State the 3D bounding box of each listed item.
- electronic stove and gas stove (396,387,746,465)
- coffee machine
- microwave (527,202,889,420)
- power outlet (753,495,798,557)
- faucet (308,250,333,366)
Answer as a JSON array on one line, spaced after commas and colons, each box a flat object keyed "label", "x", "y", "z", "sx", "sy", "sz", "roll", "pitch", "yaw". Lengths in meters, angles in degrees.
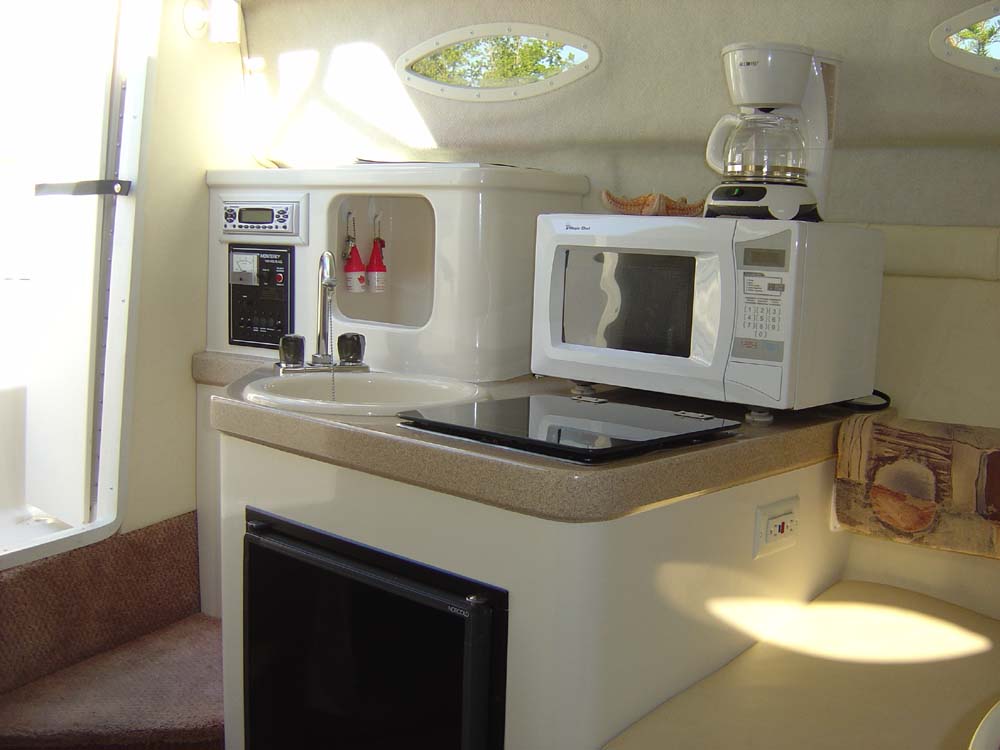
[{"label": "electronic stove and gas stove", "x": 0.137, "y": 0.095, "z": 1.576, "sx": 0.612, "sy": 0.052, "sz": 0.418, "roll": 8, "pitch": 15, "yaw": 32}, {"label": "coffee machine", "x": 0.595, "y": -0.536, "z": 1.757, "sx": 0.241, "sy": 0.372, "sz": 0.351, "roll": 7, "pitch": 14, "yaw": 31}, {"label": "microwave", "x": 0.446, "y": -0.146, "z": 1.742, "sx": 0.760, "sy": 0.404, "sz": 0.342, "roll": 4, "pitch": 13, "yaw": 18}, {"label": "power outlet", "x": 0.572, "y": 0.313, "z": 1.642, "sx": 0.136, "sy": 0.101, "sz": 0.014, "roll": -5, "pitch": 13, "yaw": -37}, {"label": "faucet", "x": -0.481, "y": -0.185, "z": 2.135, "sx": 0.067, "sy": 0.293, "sz": 0.246, "roll": -3, "pitch": 12, "yaw": -13}]
